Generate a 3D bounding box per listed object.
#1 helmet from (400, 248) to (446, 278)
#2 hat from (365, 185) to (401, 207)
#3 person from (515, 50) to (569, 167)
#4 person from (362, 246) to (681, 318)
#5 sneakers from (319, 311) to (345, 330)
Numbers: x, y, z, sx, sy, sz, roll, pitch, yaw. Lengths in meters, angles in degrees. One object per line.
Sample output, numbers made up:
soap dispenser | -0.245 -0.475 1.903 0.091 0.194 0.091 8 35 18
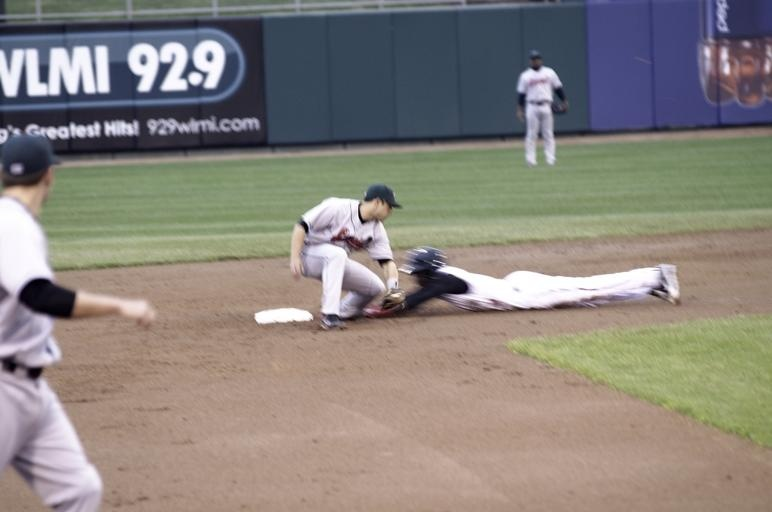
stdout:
helmet | 0.447 0.063 14.849 0.511 0.237 0.314 -1 1 -8
hat | -0.043 -0.762 14.631 0.398 0.192 0.254 14 11 -9
person | 2.877 -2.719 22.292 0.874 2.121 0.949 -3 6 7
person | 1.761 0.354 15.111 3.554 0.815 1.320 -2 3 4
sneakers | -0.598 0.799 14.580 0.394 0.149 0.134 5 6 -27
